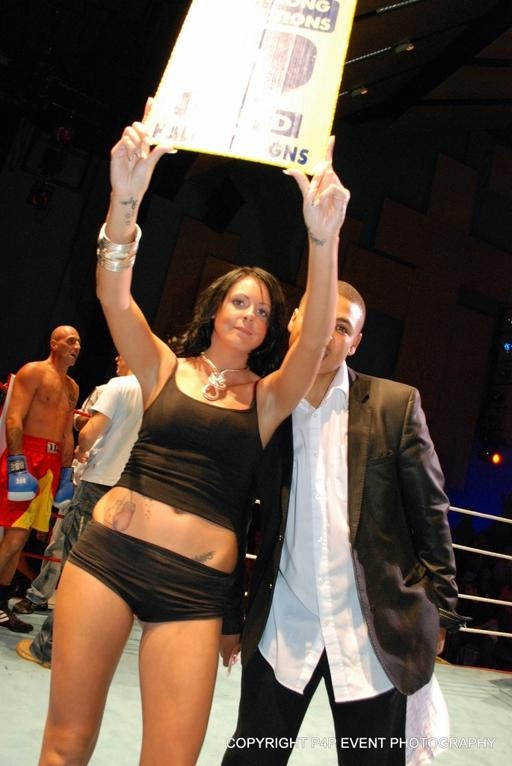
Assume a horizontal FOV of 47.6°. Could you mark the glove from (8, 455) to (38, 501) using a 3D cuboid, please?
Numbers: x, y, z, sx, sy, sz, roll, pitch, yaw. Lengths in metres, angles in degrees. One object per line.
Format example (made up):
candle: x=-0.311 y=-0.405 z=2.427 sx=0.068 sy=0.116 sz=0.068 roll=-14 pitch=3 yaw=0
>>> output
glove: x=-1.174 y=0.479 z=2.940 sx=0.143 sy=0.225 sz=0.074 roll=-7 pitch=-10 yaw=-9

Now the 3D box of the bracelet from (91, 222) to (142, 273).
bracelet: x=-0.292 y=-0.288 z=1.250 sx=0.090 sy=0.086 sz=0.112 roll=12 pitch=41 yaw=-5
